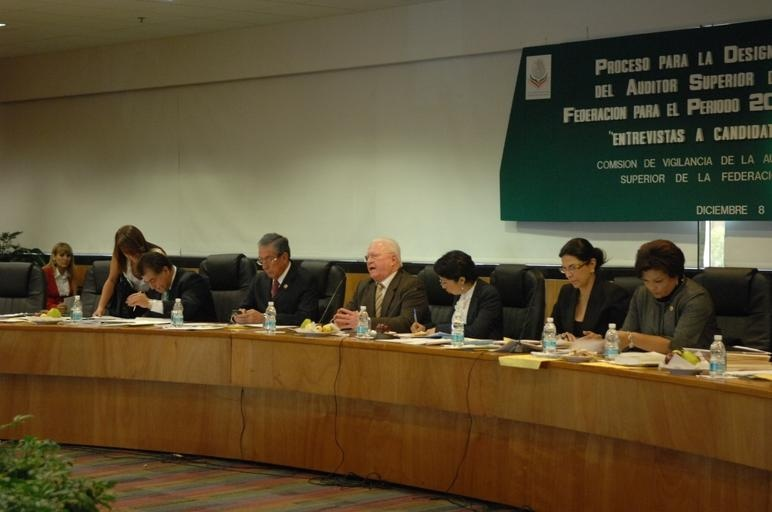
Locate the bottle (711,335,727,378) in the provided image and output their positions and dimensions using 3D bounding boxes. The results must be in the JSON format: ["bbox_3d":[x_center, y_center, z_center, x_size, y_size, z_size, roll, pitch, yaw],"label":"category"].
[{"bbox_3d":[1.741,0.512,3.206,0.081,0.222,0.312,3,0,29],"label":"bottle"}]

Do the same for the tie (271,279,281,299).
[{"bbox_3d":[-0.924,0.276,5.174,0.048,0.136,0.098,8,-11,-7],"label":"tie"}]

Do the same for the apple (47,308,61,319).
[{"bbox_3d":[-2.709,0.464,4.997,0.103,0.103,0.104,-1,0,8],"label":"apple"}]

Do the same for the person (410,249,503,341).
[{"bbox_3d":[0.529,0.333,4.870,0.608,1.059,0.659,2,-8,-10],"label":"person"}]

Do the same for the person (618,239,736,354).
[{"bbox_3d":[1.769,0.229,3.818,0.551,0.739,0.404,4,1,28],"label":"person"}]

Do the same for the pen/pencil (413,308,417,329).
[{"bbox_3d":[0.217,0.479,4.636,0.018,0.126,0.014,1,-17,3],"label":"pen/pencil"}]

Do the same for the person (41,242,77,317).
[{"bbox_3d":[-4.027,0.345,7.625,0.517,0.994,0.619,6,2,-25],"label":"person"}]

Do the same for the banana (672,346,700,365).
[{"bbox_3d":[1.559,0.522,3.205,0.070,0.049,0.130,-12,29,-33],"label":"banana"}]

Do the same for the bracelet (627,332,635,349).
[{"bbox_3d":[1.455,0.498,3.644,0.032,0.090,0.054,3,1,24],"label":"bracelet"}]

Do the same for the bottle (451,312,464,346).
[{"bbox_3d":[0.473,0.472,4.020,0.080,0.208,0.315,3,0,7],"label":"bottle"}]

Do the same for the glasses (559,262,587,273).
[{"bbox_3d":[1.324,0.084,4.282,0.183,0.110,0.092,4,1,20],"label":"glasses"}]

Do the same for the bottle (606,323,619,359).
[{"bbox_3d":[1.303,0.494,3.532,0.081,0.215,0.214,3,0,20],"label":"bottle"}]
